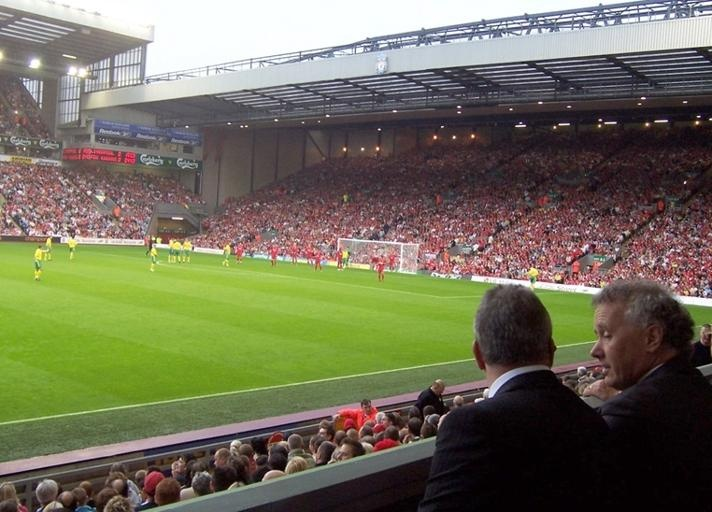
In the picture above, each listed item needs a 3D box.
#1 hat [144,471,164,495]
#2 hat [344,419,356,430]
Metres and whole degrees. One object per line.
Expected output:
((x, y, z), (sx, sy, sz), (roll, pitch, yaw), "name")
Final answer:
((-1.703, 1.937, 5.453), (0.137, 0.193, 0.357), (-2, 6, -21), "hat")
((-0.077, 2.092, 8.069), (0.133, 0.159, 0.229), (2, 4, 6), "hat")
